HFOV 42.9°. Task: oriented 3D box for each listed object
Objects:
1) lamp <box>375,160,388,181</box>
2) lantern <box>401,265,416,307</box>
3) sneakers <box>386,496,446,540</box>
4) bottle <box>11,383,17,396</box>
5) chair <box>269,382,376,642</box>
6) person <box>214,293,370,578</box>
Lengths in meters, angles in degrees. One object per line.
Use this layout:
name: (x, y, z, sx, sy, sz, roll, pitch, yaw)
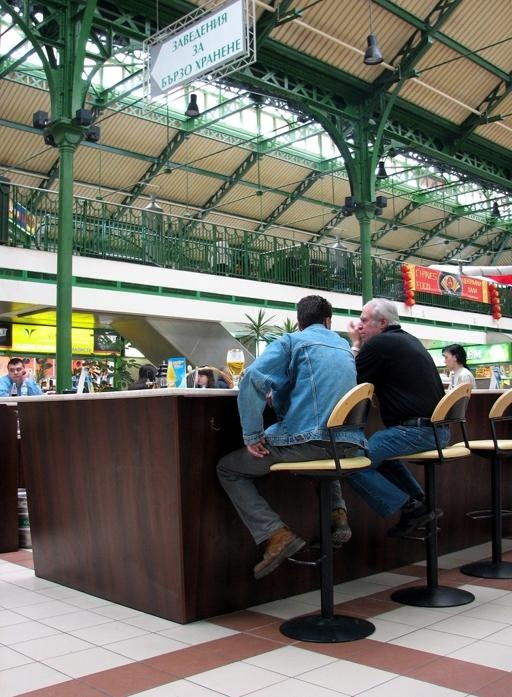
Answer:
lamp: (3.411, -4.862, 17.794, 0.251, 0.741, 0.944, -3, -8, 13)
lantern: (4.125, -1.652, 17.509, 0.314, 1.089, 0.375, -11, 9, -6)
sneakers: (0.787, 0.824, 3.144, 0.212, 0.208, 0.446, -4, -8, 25)
bottle: (-2.302, 0.390, 6.194, 0.040, 0.116, 0.113, 2, -8, -17)
chair: (0.267, 0.630, 2.566, 0.396, 0.961, 0.366, -3, -8, 18)
person: (0.206, 0.363, 2.817, 0.644, 1.264, 0.606, 15, -14, -35)
